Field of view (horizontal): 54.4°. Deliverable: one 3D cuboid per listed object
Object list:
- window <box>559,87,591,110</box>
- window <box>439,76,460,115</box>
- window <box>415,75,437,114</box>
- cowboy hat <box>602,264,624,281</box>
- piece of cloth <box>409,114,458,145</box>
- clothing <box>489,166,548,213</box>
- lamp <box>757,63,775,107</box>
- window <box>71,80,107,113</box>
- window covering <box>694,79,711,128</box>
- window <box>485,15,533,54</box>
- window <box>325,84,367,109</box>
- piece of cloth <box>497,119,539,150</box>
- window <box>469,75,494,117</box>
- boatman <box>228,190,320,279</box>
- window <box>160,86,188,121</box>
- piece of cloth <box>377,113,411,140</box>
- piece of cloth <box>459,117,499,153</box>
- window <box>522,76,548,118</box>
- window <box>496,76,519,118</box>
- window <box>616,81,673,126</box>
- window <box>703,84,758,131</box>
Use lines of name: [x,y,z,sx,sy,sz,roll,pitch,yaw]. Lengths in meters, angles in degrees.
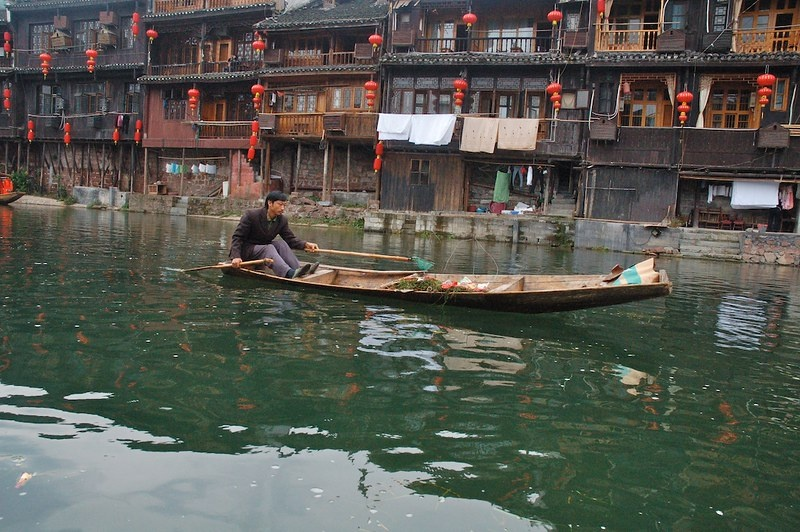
window: [6.471,-6.173,28.846,0.123,0.557,1.078,10,-2,-34]
window: [1.827,-6.715,30.853,0.721,1.389,0.191,5,4,12]
window: [0.990,-6.777,31.137,0.907,1.387,0.148,6,4,25]
cowboy hat: [3.790,0.158,13.854,0.258,0.313,0.401,3,3,-9]
piece of cloth: [1.263,-5.201,29.893,1.414,0.766,0.226,10,-2,27]
clothing: [4.717,-2.958,30.745,2.721,2.131,0.256,2,33,1]
lamp: [12.356,-6.119,26.444,0.619,1.286,1.772,6,3,23]
window: [-15.835,-8.603,39.840,2.256,1.637,0.605,4,8,14]
window covering: [10.687,-5.730,27.601,0.439,1.846,0.788,6,4,18]
window: [4.289,-8.960,30.450,2.505,2.171,0.234,-7,-33,-4]
window: [-2.223,-7.061,32.634,1.459,0.674,0.058,3,2,24]
piece of cloth: [4.358,-4.833,28.895,1.382,0.859,0.189,7,-8,20]
window: [3.182,-6.644,30.498,0.975,1.320,0.282,5,4,26]
boatman: [-2.540,-0.620,15.836,2.240,1.481,1.245,15,18,26]
window: [-10.761,-7.741,37.250,2.155,1.918,0.193,2,3,19]
piece of cloth: [-0.249,-5.380,30.441,1.416,0.792,0.341,1,2,18]
piece of cloth: [2.989,-4.907,29.453,1.697,1.284,0.289,5,1,32]
window: [5.121,-6.402,29.856,0.940,1.428,0.221,5,4,19]
window: [4.134,-6.489,30.190,0.895,1.470,0.346,5,4,11]
window: [9.055,-6.043,28.938,2.383,1.759,0.137,1,10,12]
window: [11.876,-5.704,28.000,2.189,2.034,0.179,6,10,29]
